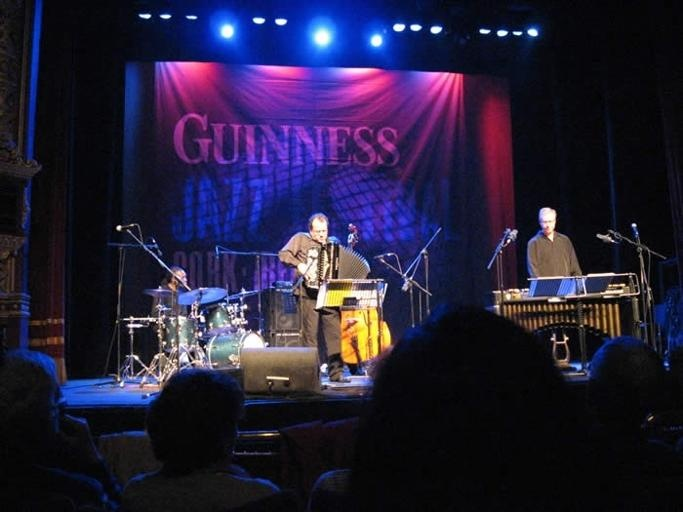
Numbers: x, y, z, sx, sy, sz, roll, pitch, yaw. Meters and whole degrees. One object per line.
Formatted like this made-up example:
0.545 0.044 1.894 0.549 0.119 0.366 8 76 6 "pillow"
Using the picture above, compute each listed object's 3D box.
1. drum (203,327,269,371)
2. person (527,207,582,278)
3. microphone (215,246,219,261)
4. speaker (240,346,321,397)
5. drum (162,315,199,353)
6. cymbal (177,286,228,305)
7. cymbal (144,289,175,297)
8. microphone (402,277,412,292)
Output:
-1.290 1.118 8.829 0.313 0.481 0.471 -9 -29 33 "drum"
2.796 -0.181 9.854 0.638 0.945 0.464 -2 -7 6 "person"
-1.935 -0.056 11.515 0.063 0.206 0.079 1 -7 -10 "microphone"
-0.596 1.102 7.263 0.511 0.346 0.518 1 11 1 "speaker"
-2.154 1.052 9.906 0.562 0.540 0.578 0 -1 -15 "drum"
-1.827 0.532 9.595 0.346 0.086 0.357 -28 -24 27 "cymbal"
-2.401 0.496 9.902 0.246 0.063 0.260 3 2 28 "cymbal"
0.952 0.414 10.832 0.066 0.127 0.291 -28 12 18 "microphone"
